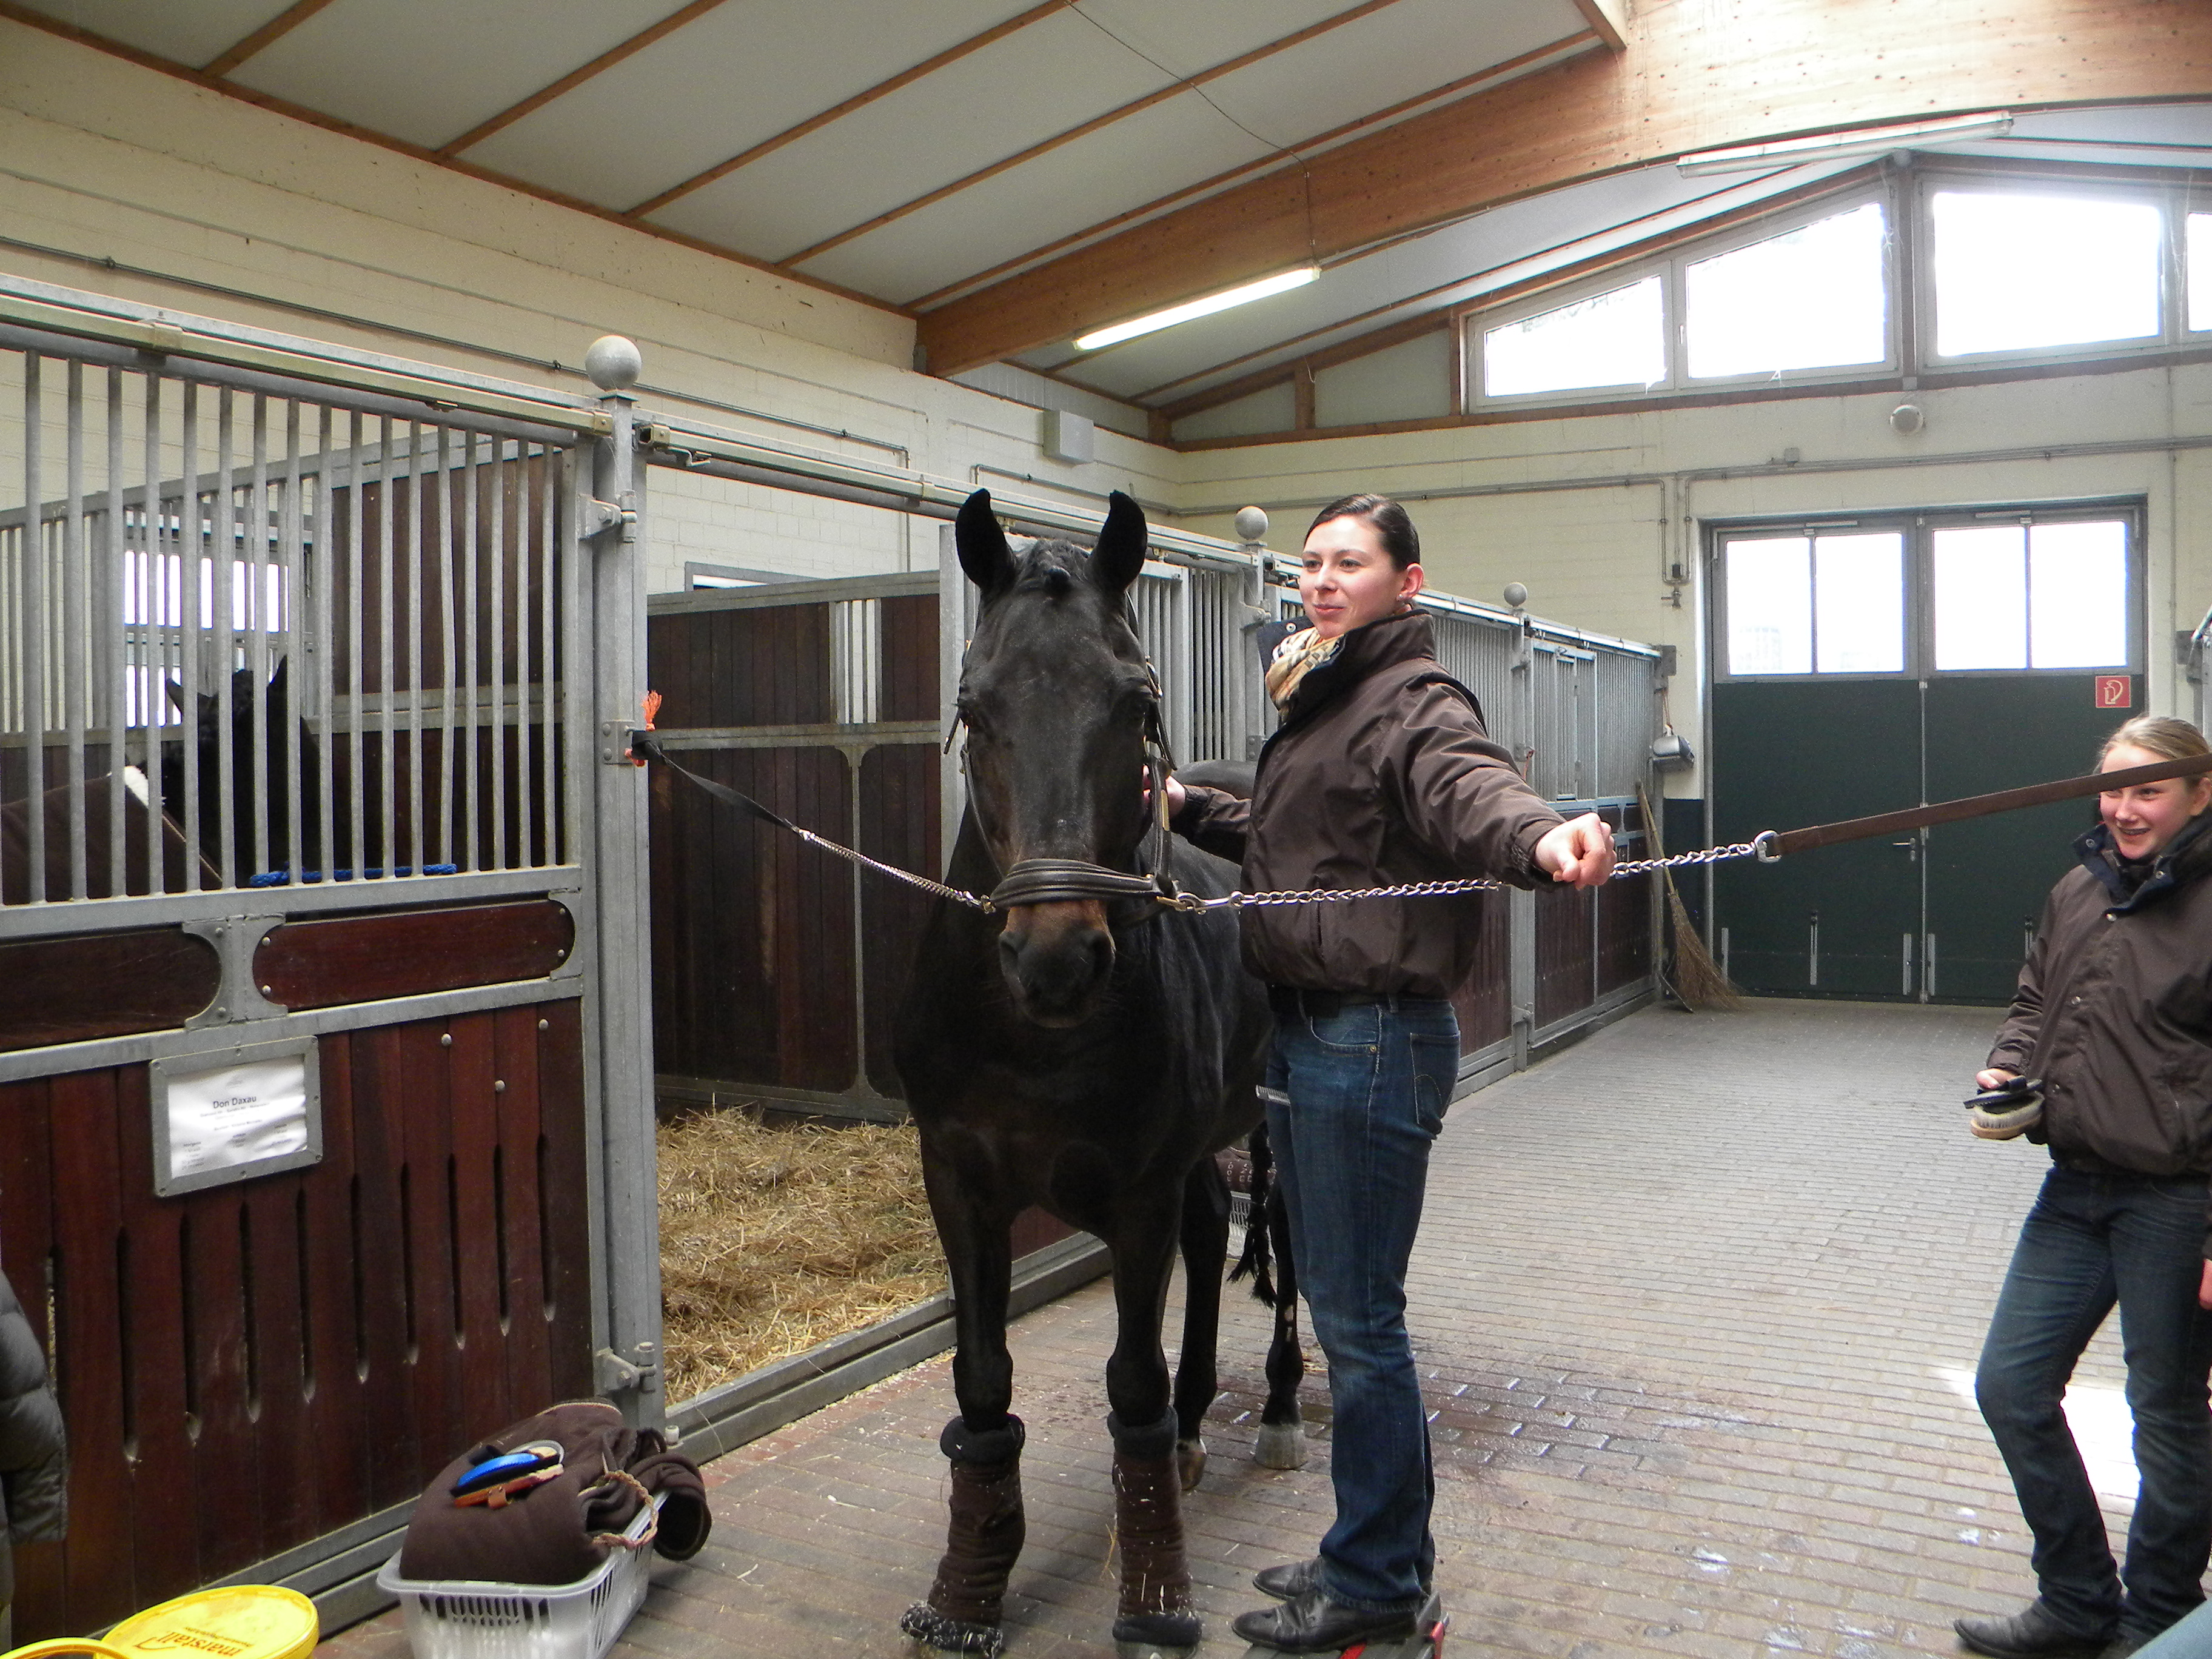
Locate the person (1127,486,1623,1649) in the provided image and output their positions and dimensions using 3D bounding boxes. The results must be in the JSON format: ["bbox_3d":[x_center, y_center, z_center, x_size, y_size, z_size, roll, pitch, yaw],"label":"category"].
[{"bbox_3d":[0.531,0.494,2.968,0.386,2.292,0.894,-4,4,-43],"label":"person"}]
